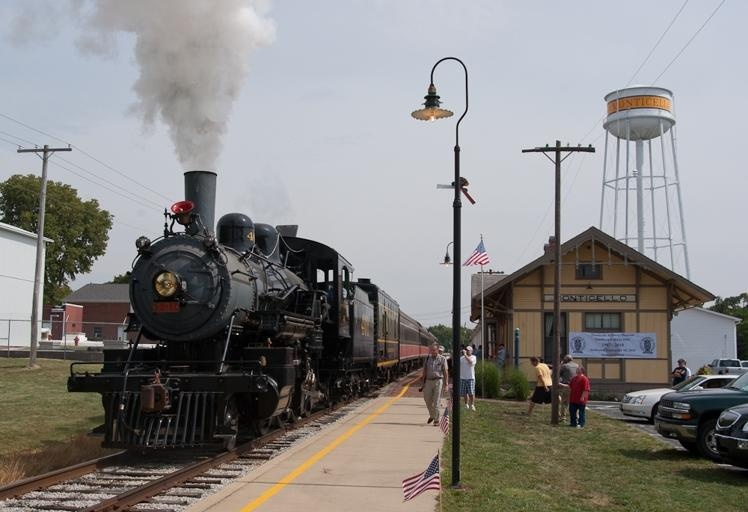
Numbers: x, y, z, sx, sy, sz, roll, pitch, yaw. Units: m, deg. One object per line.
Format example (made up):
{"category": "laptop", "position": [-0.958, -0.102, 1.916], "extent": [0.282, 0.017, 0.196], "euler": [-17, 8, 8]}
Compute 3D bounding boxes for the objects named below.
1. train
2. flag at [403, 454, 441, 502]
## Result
{"category": "train", "position": [-2.426, 2.550, 23.819], "extent": [3.835, 5.578, 21.269], "euler": [-2, -7, 8]}
{"category": "flag", "position": [0.756, 3.506, 11.288], "extent": [0.547, 0.705, 0.699], "euler": [0, -10, 8]}
